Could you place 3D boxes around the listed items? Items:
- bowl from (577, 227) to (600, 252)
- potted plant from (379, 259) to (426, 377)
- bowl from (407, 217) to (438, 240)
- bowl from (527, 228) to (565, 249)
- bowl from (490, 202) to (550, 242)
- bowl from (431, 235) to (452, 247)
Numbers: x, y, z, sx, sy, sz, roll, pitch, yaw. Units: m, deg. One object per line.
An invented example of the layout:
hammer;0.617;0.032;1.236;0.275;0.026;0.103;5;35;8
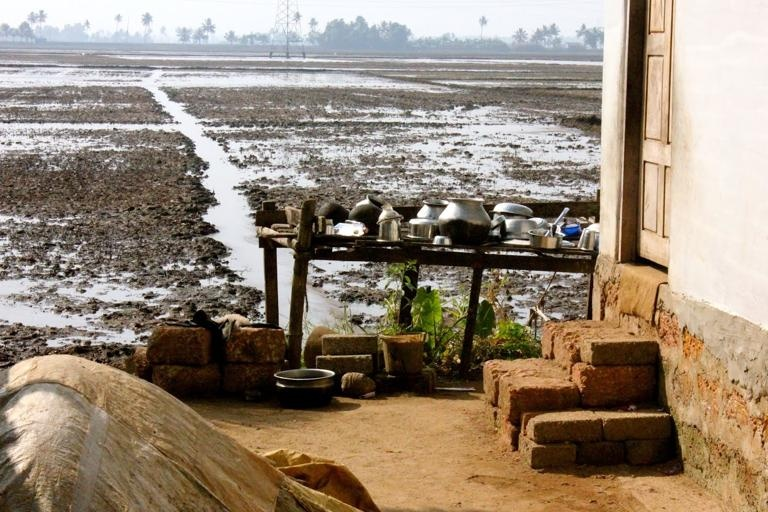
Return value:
bowl;2.232;-0.196;9.711;0.217;0.246;0.426;1;9;11
potted plant;0.274;0.653;9.977;0.704;1.353;0.737;0;-6;20
bowl;0.436;-0.315;9.999;0.317;0.224;0.200;-1;9;1
bowl;1.756;-0.186;9.697;0.355;0.200;0.259;2;9;18
bowl;1.529;-0.396;10.095;0.640;0.381;0.494;2;10;21
bowl;0.639;-0.168;9.848;0.222;0.114;0.118;0;9;8
